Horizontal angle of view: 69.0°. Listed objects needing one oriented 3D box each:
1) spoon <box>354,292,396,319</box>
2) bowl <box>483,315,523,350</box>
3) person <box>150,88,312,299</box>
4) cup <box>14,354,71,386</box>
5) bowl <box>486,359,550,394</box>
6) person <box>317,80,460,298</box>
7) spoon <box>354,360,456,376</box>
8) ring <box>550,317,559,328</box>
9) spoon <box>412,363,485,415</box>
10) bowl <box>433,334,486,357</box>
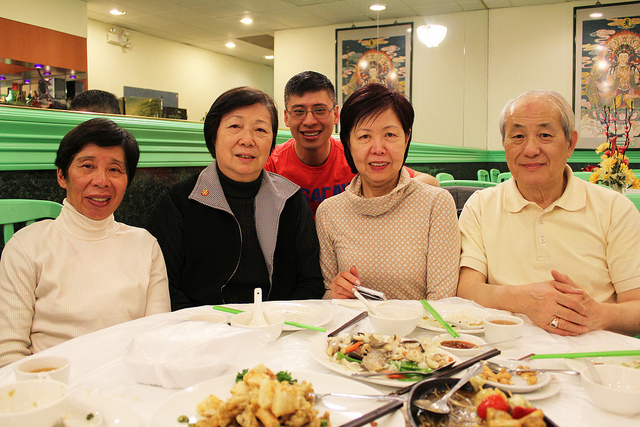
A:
[{"bbox_3d":[0.212,0.368,1.857,0.130,0.019,0.019,35,-22,14],"label":"spoon"},{"bbox_3d":[0.650,0.429,1.644,0.137,0.088,0.135,1,-5,0],"label":"bowl"},{"bbox_3d":[-0.433,-0.087,2.306,0.802,1.022,0.344,-1,11,-9],"label":"person"},{"bbox_3d":[-0.775,0.469,1.323,0.113,0.098,0.136,1,4,-15],"label":"cup"},{"bbox_3d":[0.578,0.482,1.395,0.217,0.037,0.165,0,9,-1],"label":"bowl"},{"bbox_3d":[0.337,-0.118,2.289,0.706,1.002,0.312,3,11,16],"label":"person"},{"bbox_3d":[0.256,0.470,1.419,0.375,0.029,0.040,0,0,-24],"label":"spoon"},{"bbox_3d":[0.860,0.401,1.707,0.027,0.034,0.013,22,4,35],"label":"ring"},{"bbox_3d":[0.364,0.480,1.322,0.083,0.040,0.279,5,22,45],"label":"spoon"},{"bbox_3d":[0.481,0.441,1.592,0.181,0.033,0.153,2,9,7],"label":"bowl"}]
